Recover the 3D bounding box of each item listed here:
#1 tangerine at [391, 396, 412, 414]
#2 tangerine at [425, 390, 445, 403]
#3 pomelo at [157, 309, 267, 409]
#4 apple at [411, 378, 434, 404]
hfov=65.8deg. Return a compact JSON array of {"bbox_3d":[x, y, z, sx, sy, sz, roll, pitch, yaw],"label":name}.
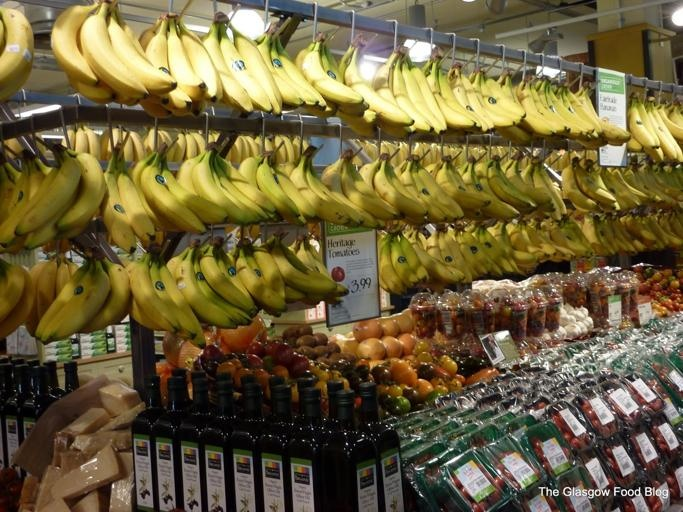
[{"bbox_3d":[0.249,0.631,2.209,0.057,0.067,0.064,-15,-5,7],"label":"tangerine"},{"bbox_3d":[0.410,0.620,2.327,0.056,0.074,0.057,-3,-4,30],"label":"tangerine"},{"bbox_3d":[-0.616,0.446,2.525,0.413,0.539,0.455,-7,-6,-4],"label":"pomelo"},{"bbox_3d":[0.358,0.619,2.390,0.069,0.085,0.070,-39,-25,7],"label":"apple"}]
